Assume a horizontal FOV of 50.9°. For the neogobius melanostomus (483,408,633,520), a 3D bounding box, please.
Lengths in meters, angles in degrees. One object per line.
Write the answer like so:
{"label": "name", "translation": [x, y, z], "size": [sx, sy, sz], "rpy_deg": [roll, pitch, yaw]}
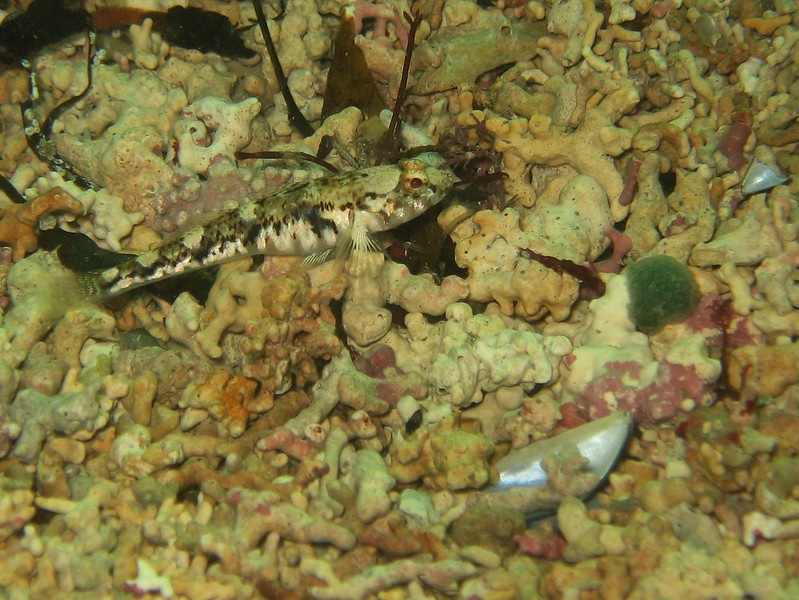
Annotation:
{"label": "neogobius melanostomus", "translation": [0.881, 0.918, 4.673], "size": [0.873, 0.303, 0.364], "rpy_deg": [-26, 73, 26]}
